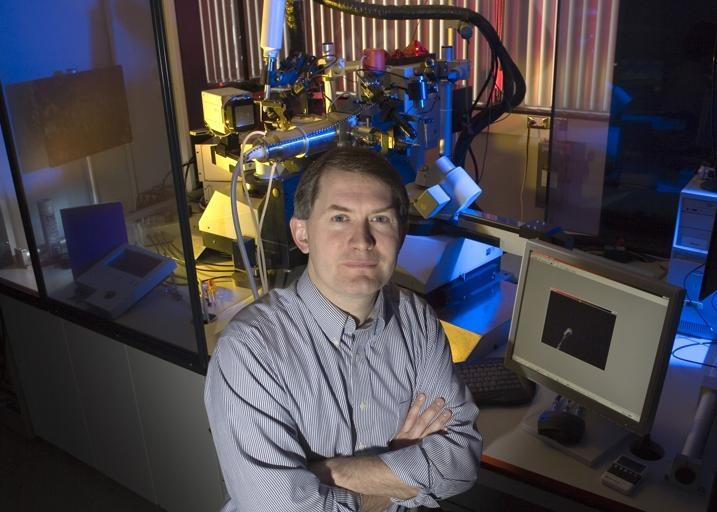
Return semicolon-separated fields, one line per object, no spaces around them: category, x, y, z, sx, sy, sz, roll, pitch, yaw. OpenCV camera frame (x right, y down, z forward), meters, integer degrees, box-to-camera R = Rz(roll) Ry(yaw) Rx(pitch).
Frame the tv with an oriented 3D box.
tv;0.804;0.361;1.860;0.549;0.561;0.205;30;21;32
